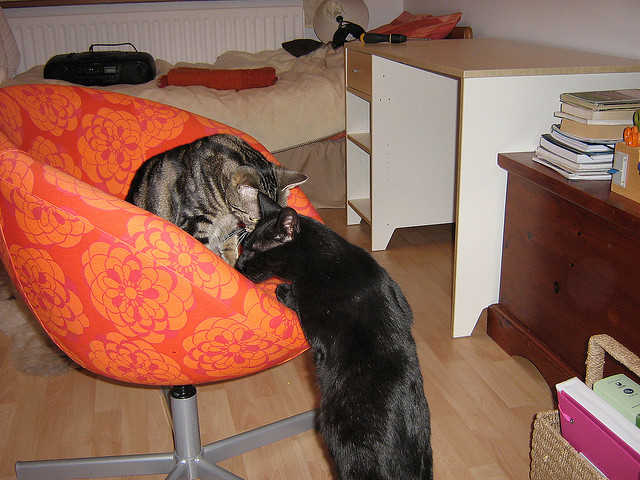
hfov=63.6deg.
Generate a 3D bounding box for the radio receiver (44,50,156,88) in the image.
[{"bbox_3d":[-1.419,-1.124,3.371,0.732,0.292,0.495,-7,28,-15],"label":"radio receiver"}]

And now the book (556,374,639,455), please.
[{"bbox_3d":[0.676,0.405,1.203,0.128,0.063,0.212,-16,36,-24],"label":"book"}]

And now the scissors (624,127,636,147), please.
[{"bbox_3d":[0.844,-0.281,1.404,0.014,0.045,0.032,-5,1,-1],"label":"scissors"}]

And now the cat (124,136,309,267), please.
[{"bbox_3d":[-0.376,-0.142,1.615,0.569,0.380,0.297,20,17,25],"label":"cat"}]

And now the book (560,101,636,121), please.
[{"bbox_3d":[0.819,-0.375,1.514,0.092,0.023,0.096,2,27,1],"label":"book"}]
